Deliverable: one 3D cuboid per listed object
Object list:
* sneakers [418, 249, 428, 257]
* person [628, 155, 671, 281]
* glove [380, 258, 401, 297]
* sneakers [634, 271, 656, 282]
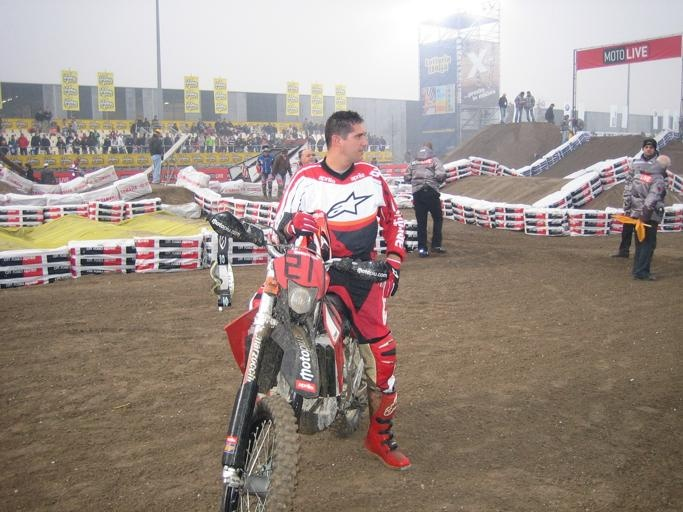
[{"bbox_3d":[1.798,-0.087,12.377,0.219,0.180,0.320,1,9,7],"label":"sneakers"},{"bbox_3d":[5.328,-0.652,9.836,0.510,2.127,0.786,3,9,19],"label":"person"},{"bbox_3d":[0.395,0.194,4.537,0.139,0.320,0.107,1,11,17],"label":"glove"},{"bbox_3d":[5.345,0.367,9.885,0.388,0.199,0.145,-2,3,10],"label":"sneakers"}]
